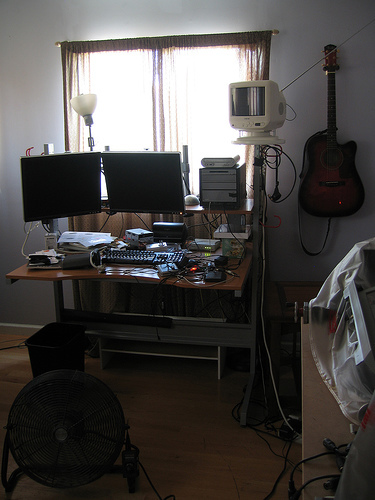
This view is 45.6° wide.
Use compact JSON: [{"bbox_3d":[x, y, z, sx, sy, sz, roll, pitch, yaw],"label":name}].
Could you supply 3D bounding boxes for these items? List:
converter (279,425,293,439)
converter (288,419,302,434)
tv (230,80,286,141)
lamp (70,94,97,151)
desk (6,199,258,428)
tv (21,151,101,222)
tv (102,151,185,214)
[{"bbox_3d":[0.493,0.906,2.214,0.049,0.037,0.069,2,2,10],"label":"converter"},{"bbox_3d":[0.544,0.882,2.244,0.065,0.068,0.016,16,26,31],"label":"converter"},{"bbox_3d":[0.355,-0.700,2.284,0.250,0.316,0.260,9,19,37],"label":"tv"},{"bbox_3d":[-0.634,-0.789,2.785,0.152,0.334,0.350,-3,13,-11],"label":"lamp"},{"bbox_3d":[-0.273,0.236,2.545,1.161,1.126,0.876,3,10,9],"label":"desk"},{"bbox_3d":[-0.732,-0.375,2.589,0.383,0.334,0.040,-10,21,-32],"label":"tv"},{"bbox_3d":[-0.250,-0.399,2.601,0.366,0.287,0.040,5,28,15],"label":"tv"}]
